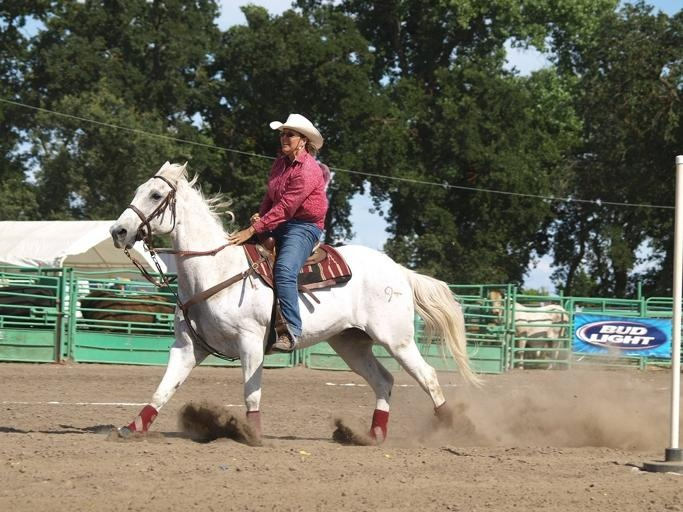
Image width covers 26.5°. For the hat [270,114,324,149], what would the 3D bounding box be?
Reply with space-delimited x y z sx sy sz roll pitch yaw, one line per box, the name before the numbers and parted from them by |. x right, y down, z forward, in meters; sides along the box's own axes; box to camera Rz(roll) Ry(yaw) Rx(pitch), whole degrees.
hat | -1.133 -3.846 45.136 1.363 0.476 1.286 27 -10 -37

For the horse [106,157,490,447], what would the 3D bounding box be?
horse | -1.406 1.763 46.501 13.497 7.327 3.427 7 -10 -26

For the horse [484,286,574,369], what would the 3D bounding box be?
horse | 7.083 2.938 55.250 2.861 2.971 1.085 10 0 3
